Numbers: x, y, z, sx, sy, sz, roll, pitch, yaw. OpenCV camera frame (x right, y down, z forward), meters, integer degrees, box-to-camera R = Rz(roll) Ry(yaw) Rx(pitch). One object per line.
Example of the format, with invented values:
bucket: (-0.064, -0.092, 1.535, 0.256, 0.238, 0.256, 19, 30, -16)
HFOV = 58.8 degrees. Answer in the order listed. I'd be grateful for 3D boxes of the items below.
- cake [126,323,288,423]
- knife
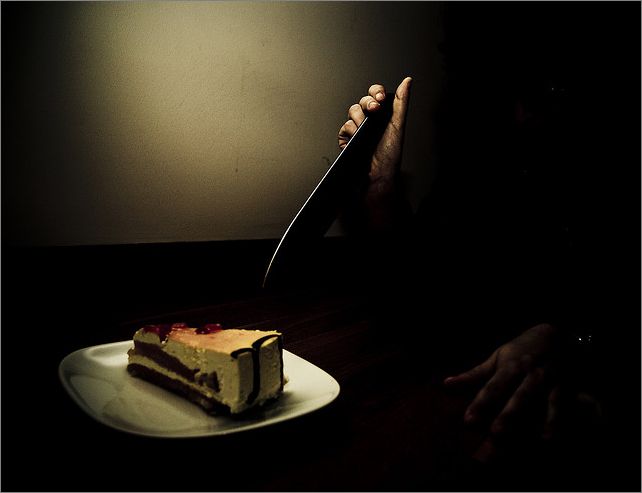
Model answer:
cake: (-0.236, 0.238, 1.235, 0.274, 0.121, 0.175, 6, 7, 30)
knife: (0.030, -0.204, 1.968, 0.037, 0.729, 0.094, 19, 0, -27)
